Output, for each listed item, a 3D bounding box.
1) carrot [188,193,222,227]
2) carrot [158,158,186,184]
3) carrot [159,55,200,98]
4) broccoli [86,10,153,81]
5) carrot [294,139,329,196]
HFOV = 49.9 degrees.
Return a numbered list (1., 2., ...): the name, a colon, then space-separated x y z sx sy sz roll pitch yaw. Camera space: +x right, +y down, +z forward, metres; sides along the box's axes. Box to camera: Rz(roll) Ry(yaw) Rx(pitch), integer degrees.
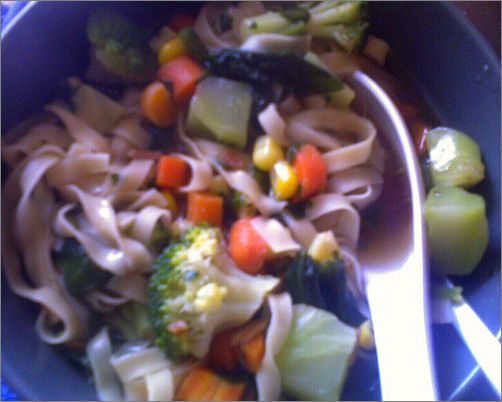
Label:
1. carrot: -0.224 0.034 2.598 0.133 0.140 0.179 5 89 -24
2. carrot: -0.381 -0.161 2.625 0.156 0.184 0.067 2 37 -9
3. carrot: -0.324 -0.580 2.623 0.177 0.124 0.192 -40 60 12
4. broccoli: -0.616 -0.722 2.538 0.233 0.057 0.304 -50 117 -24
5. carrot: 0.288 -0.156 2.557 0.141 0.076 0.253 -3 91 -4
